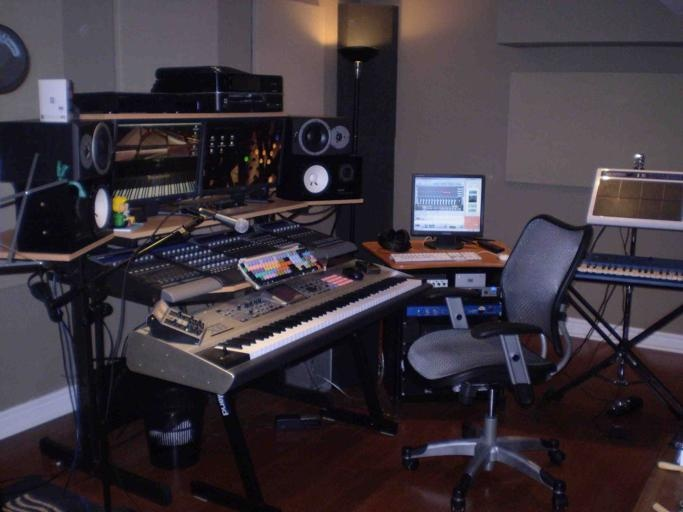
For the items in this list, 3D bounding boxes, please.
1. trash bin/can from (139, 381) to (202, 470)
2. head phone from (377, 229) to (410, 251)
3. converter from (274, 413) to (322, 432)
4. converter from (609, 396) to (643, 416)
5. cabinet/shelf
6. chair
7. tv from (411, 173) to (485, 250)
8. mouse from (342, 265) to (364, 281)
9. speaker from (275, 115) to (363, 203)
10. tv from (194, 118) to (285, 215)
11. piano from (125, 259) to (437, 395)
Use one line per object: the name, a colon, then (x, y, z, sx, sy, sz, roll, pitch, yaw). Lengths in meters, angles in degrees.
trash bin/can: (-0.882, 0.925, 3.235, 0.283, 0.324, 0.284, 0, -3, 3)
head phone: (0.352, -0.108, 3.975, 0.183, 0.106, 0.140, -2, -8, 37)
converter: (-0.258, 0.977, 3.513, 0.221, 0.084, 0.080, 3, -17, -6)
converter: (1.799, 0.935, 3.770, 0.232, 0.067, 0.104, -10, 21, -21)
cabinet/shelf: (0.592, 0.328, 3.740, 1.087, 1.013, 0.889, -1, 8, -7)
chair: (0.846, 0.331, 3.707, 1.301, 1.861, 1.365, -3, 9, -11)
tv: (0.720, -0.308, 4.029, 0.505, 0.492, 0.184, 1, 5, 4)
mouse: (0.063, 0.089, 3.328, 0.069, 0.031, 0.094, -12, 21, -36)
speaker: (-0.157, -0.597, 3.770, 0.558, 0.522, 0.291, -6, 12, -36)
tv: (-0.560, -0.537, 3.442, 0.589, 0.495, 0.134, 2, -2, 27)
piano: (-0.299, 0.296, 2.906, 0.554, 0.312, 1.329, 11, 15, 41)
